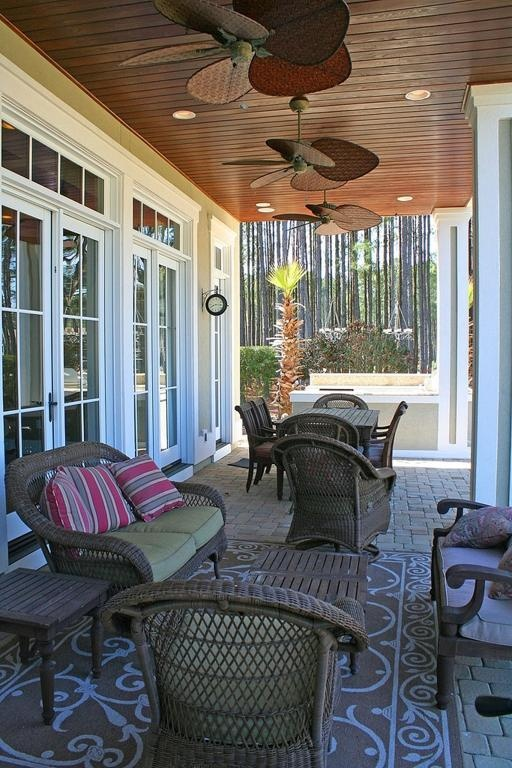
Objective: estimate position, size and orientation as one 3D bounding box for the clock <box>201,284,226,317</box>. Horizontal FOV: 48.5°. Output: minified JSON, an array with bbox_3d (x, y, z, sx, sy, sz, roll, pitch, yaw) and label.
[{"bbox_3d":[-0.562,-1.038,7.198,0.287,0.394,0.097,-4,-2,-15],"label":"clock"}]

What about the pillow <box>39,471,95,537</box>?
[{"bbox_3d":[-0.900,0.578,2.683,0.128,0.260,0.240,-20,-3,-11],"label":"pillow"}]

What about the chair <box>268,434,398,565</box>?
[{"bbox_3d":[0.484,0.702,3.719,0.694,0.812,0.859,1,0,26],"label":"chair"}]

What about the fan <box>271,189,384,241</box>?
[{"bbox_3d":[0.628,-1.489,5.126,0.871,0.277,0.844,3,5,41],"label":"fan"}]

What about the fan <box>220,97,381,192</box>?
[{"bbox_3d":[0.295,-1.648,3.847,1.013,0.502,0.928,-5,6,-36],"label":"fan"}]

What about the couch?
[{"bbox_3d":[-0.684,0.355,2.751,0.755,0.608,1.028,7,2,18],"label":"couch"}]

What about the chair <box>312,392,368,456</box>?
[{"bbox_3d":[0.708,0.327,4.752,0.489,0.651,0.459,0,-3,17],"label":"chair"}]

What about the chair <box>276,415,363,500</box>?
[{"bbox_3d":[0.464,0.496,4.420,0.548,0.762,0.540,0,9,14],"label":"chair"}]
